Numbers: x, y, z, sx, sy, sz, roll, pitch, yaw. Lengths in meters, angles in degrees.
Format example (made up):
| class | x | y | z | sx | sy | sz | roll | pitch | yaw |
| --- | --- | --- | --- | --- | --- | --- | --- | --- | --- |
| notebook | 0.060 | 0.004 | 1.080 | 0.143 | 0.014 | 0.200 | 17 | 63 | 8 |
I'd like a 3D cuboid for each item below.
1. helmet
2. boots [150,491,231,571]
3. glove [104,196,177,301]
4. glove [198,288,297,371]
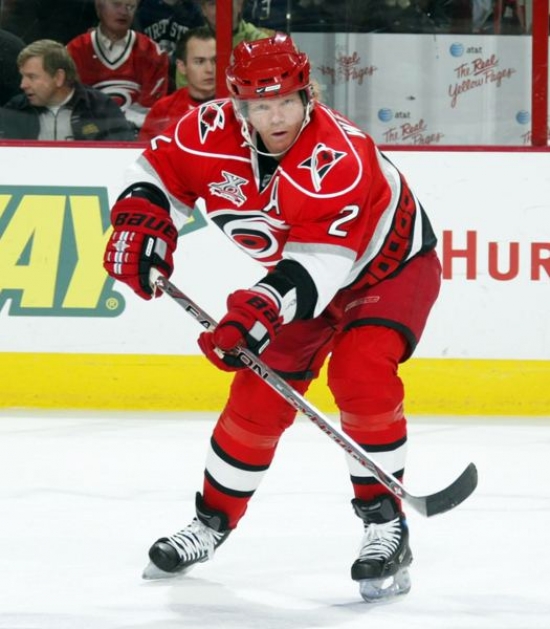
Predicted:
| class | x | y | z | sx | sy | sz | roll | pitch | yaw |
| --- | --- | --- | --- | --- | --- | --- | --- | --- | --- |
| helmet | -0.013 | -0.530 | 1.837 | 0.181 | 0.190 | 0.130 | 1 | 14 | -2 |
| boots | -0.217 | 0.567 | 2.144 | 0.258 | 0.110 | 0.093 | -34 | 65 | -32 |
| glove | -0.328 | -0.161 | 2.018 | 0.171 | 0.252 | 0.137 | 0 | 14 | -7 |
| glove | -0.064 | 0.027 | 1.745 | 0.215 | 0.149 | 0.096 | -37 | 10 | -10 |
